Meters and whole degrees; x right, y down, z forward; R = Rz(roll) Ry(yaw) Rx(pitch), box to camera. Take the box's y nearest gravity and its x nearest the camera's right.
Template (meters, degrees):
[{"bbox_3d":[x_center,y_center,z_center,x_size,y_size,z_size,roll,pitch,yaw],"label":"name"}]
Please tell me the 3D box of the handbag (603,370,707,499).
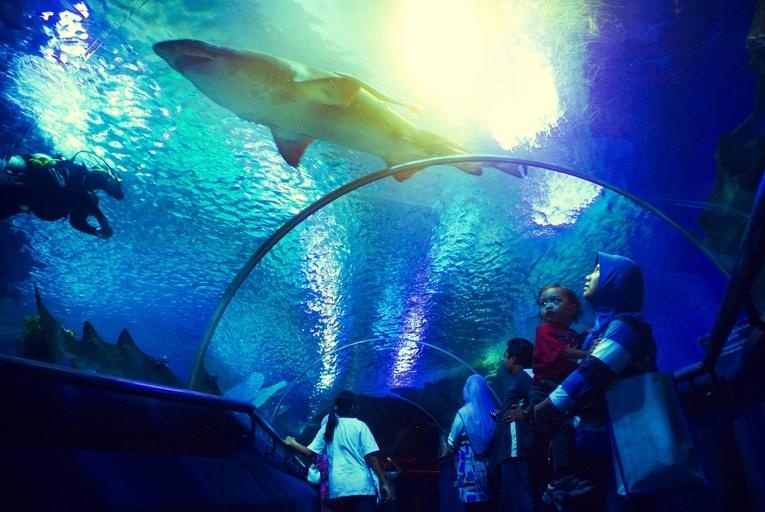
[{"bbox_3d":[2.430,1.644,4.837,0.671,1.097,0.670,-18,-40,22],"label":"handbag"}]
